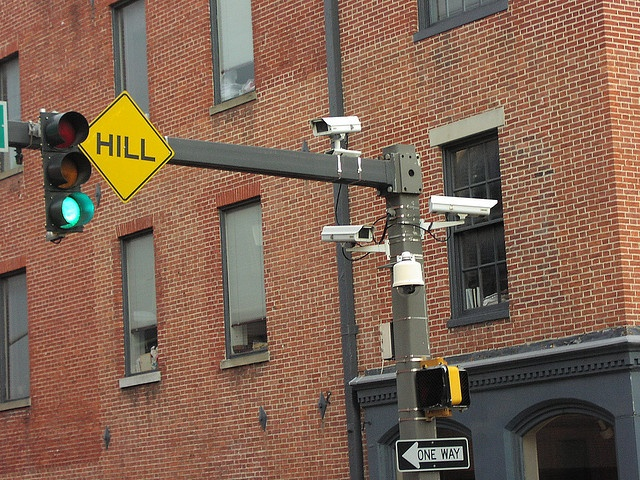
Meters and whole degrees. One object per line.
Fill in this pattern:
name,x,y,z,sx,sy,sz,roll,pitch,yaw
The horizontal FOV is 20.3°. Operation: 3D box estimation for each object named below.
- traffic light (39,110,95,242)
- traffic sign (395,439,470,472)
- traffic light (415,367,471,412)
traffic light,-3.504,-0.968,24.527,0.689,1.858,0.537,5,-8,-24
traffic sign,1.607,3.099,25.746,1.019,0.494,0.283,-7,-18,7
traffic light,1.747,2.134,25.739,0.751,0.627,0.366,-4,-18,1
